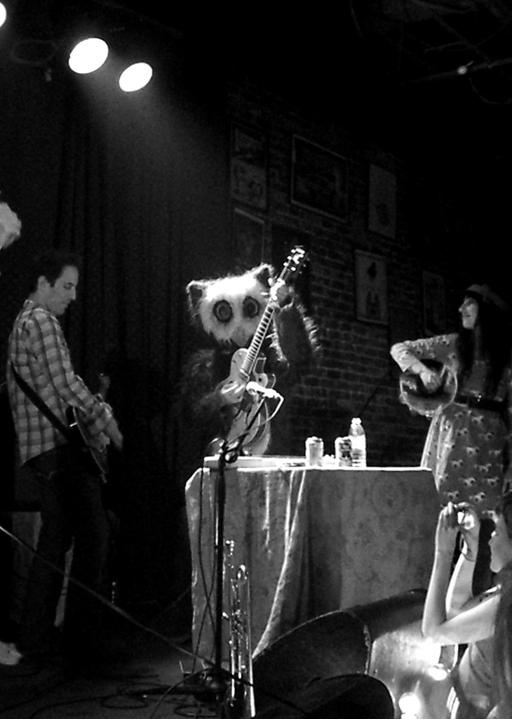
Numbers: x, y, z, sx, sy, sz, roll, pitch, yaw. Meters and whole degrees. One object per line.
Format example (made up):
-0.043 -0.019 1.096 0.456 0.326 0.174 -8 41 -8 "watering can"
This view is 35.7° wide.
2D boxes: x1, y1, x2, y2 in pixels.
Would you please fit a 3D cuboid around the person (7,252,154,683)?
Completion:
-0.654 0.323 2.756 0.437 1.372 0.344 9 -7 -39 "person"

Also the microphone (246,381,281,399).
0.021 0.108 2.772 0.097 0.029 0.062 24 -5 17 "microphone"

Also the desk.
0.148 0.574 2.602 0.935 0.738 0.556 2 -13 -20 "desk"

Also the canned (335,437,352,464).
0.309 0.320 2.773 0.056 0.101 0.063 3 -6 10 "canned"
